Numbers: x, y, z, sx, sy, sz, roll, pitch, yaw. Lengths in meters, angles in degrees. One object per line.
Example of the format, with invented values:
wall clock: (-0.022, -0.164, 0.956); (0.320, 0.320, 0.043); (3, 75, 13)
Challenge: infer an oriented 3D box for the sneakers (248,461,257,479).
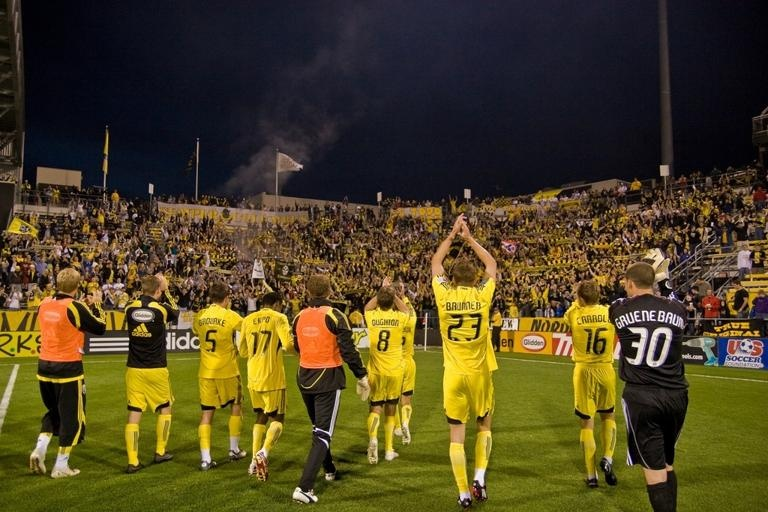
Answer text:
sneakers: (-2.689, 4.354, 13.511); (0.170, 0.508, 0.216); (1, 11, -5)

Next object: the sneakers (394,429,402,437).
sneakers: (0.336, 4.127, 15.560); (0.184, 0.181, 0.182); (-3, -19, 7)

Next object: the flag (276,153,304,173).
flag: (-6.664, -6.461, 45.316); (1.476, 1.326, 0.825); (2, 5, 18)

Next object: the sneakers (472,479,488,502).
sneakers: (1.873, 4.505, 12.822); (0.222, 0.433, 0.227); (-9, 16, 16)

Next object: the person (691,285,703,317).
person: (12.952, 1.885, 27.348); (0.621, 1.141, 0.481); (-8, -6, 27)

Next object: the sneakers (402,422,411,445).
sneakers: (0.521, 4.059, 15.206); (0.174, 0.479, 0.203); (-4, -5, 6)

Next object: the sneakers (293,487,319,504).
sneakers: (-1.489, 4.580, 12.710); (0.573, 0.261, 0.228); (13, -13, -18)

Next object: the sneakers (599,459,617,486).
sneakers: (4.576, 4.354, 13.449); (0.223, 0.614, 0.284); (-25, -20, 34)

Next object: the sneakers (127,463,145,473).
sneakers: (-5.163, 4.374, 13.757); (0.134, 0.164, 0.371); (3, 2, 28)

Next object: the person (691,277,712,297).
person: (13.713, 1.329, 28.446); (0.733, 0.707, 0.401); (-1, 12, 6)

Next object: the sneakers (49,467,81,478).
sneakers: (-6.521, 4.380, 13.573); (0.620, 0.265, 0.220); (2, 6, -19)

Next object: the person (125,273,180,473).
person: (-4.954, 2.404, 14.013); (1.067, 3.980, 0.874); (-2, 6, -24)

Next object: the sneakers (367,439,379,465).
sneakers: (-0.231, 4.152, 14.197); (0.210, 0.567, 0.242); (-2, 1, 0)

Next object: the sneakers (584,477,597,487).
sneakers: (4.144, 4.534, 13.309); (0.328, 0.222, 0.107); (-1, 1, -34)

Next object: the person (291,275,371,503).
person: (-1.136, 2.528, 13.018); (1.289, 4.272, 1.135); (0, 5, -8)

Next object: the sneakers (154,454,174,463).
sneakers: (-4.726, 4.269, 14.145); (0.412, 0.182, 0.156); (-4, 4, -39)

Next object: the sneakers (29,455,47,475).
sneakers: (-7.061, 4.197, 13.475); (0.241, 0.564, 0.269); (-7, 17, -16)

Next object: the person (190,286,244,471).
person: (-3.505, 2.476, 14.107); (0.988, 3.795, 0.977); (-1, 6, -16)

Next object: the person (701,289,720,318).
person: (12.946, 1.843, 26.113); (0.727, 1.143, 1.728); (3, 6, 26)

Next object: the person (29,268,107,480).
person: (-6.611, 2.352, 13.673); (1.344, 4.211, 0.839); (-2, 6, -21)

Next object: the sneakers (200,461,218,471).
sneakers: (-3.671, 4.336, 13.856); (0.139, 0.177, 0.384); (2, 3, 27)

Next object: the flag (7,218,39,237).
flag: (-19.045, -1.516, 34.859); (1.032, 0.821, 0.115); (9, -11, -30)

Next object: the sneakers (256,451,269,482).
sneakers: (-2.379, 4.093, 12.989); (0.240, 0.608, 0.279); (-8, -7, 16)
